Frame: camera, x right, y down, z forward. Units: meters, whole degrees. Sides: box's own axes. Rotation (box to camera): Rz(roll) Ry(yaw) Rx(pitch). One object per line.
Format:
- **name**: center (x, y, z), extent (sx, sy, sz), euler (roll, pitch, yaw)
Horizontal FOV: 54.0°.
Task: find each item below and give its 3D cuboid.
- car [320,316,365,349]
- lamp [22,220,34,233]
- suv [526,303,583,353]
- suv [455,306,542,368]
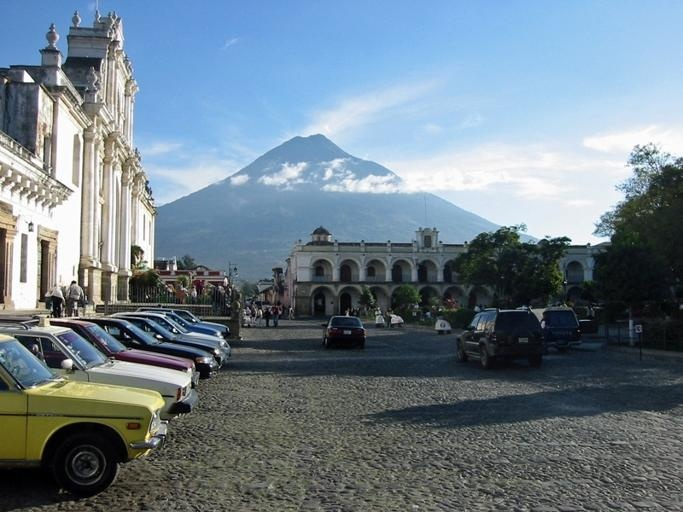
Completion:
- **car**: center (0.103, 3.243, 28.409), extent (1.570, 1.271, 1.712), euler (2, -4, -8)
- **lamp**: center (-12.913, -1.171, 27.837), extent (0.361, 0.501, 0.414), euler (0, -2, 43)
- **suv**: center (8.503, 2.893, 27.453), extent (1.737, 1.726, 3.180), euler (-1, 2, 0)
- **suv**: center (4.876, 2.475, 20.508), extent (1.724, 1.747, 2.304), euler (2, -4, -13)
